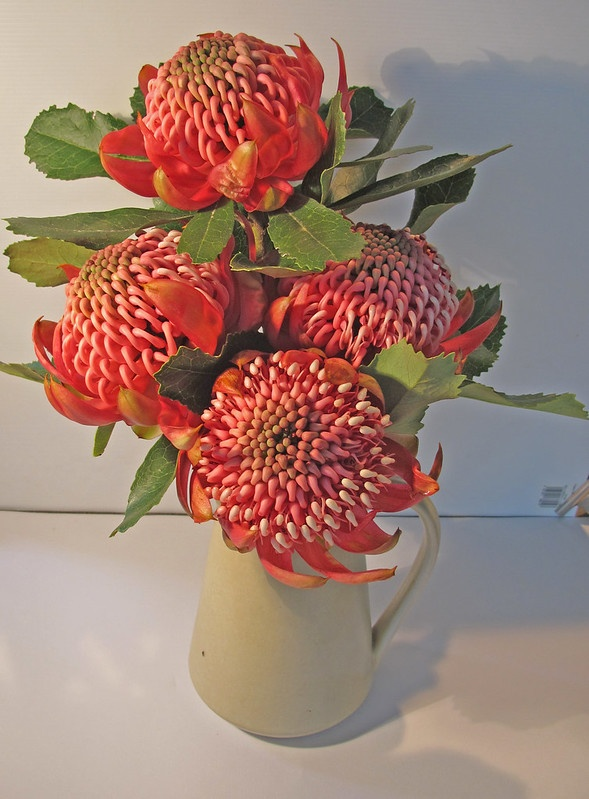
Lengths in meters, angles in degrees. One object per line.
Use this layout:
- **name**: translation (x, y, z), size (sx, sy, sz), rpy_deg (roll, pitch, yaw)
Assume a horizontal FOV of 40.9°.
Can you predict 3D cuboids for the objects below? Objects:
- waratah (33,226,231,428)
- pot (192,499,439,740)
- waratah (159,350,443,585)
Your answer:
- **waratah**: translation (-0.081, -0.037, 0.537), size (0.118, 0.081, 0.121), rpy_deg (9, 67, 46)
- **pot**: translation (0.016, 0.171, 0.667), size (0.242, 0.187, 0.139), rpy_deg (-10, 18, 3)
- **waratah**: translation (0.002, 0.042, 0.488), size (0.164, 0.131, 0.101), rpy_deg (17, 40, 15)
